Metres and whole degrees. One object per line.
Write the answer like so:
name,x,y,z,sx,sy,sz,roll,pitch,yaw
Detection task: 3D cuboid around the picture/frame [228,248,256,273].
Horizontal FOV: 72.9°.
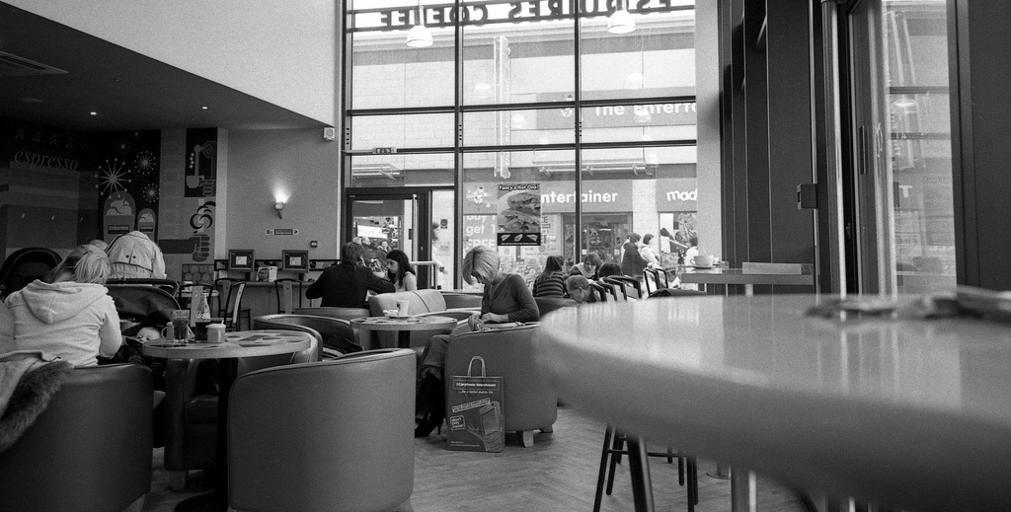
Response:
picture/frame,-5.359,0.089,13.840,0.567,0.409,0.251,-2,2,9

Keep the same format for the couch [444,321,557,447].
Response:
couch,-0.107,1.378,7.406,1.270,1.184,1.239,-7,-3,18

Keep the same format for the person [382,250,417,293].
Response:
person,-1.641,0.357,10.295,0.565,0.802,0.795,-1,-12,-4

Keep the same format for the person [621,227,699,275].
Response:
person,2.749,-0.083,11.913,1.642,0.782,0.681,-6,3,-9

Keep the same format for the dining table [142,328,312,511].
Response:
dining table,-2.307,1.475,6.361,1.607,1.543,1.616,0,-1,37

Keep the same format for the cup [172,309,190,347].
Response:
cup,-2.909,0.632,6.103,0.157,0.209,0.149,-5,-9,-1

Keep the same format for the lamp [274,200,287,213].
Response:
lamp,-4.578,-1.014,13.954,0.218,0.175,0.215,-4,-10,42

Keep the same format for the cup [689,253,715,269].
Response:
cup,1.784,0.057,6.197,0.157,0.077,0.186,1,-7,-9

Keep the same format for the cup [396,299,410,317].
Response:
cup,-1.195,0.614,7.883,0.196,0.182,0.187,-1,-9,0

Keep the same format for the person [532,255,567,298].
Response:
person,0.674,0.306,10.099,0.691,0.719,0.464,0,3,31

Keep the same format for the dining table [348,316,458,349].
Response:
dining table,-1.112,0.778,7.617,0.766,0.441,0.733,-2,-2,29

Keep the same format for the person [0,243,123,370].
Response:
person,-3.831,0.439,5.901,0.779,1.063,0.744,-1,2,36

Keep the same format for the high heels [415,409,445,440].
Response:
high heels,-0.768,1.794,7.211,0.166,0.216,0.469,1,1,-25

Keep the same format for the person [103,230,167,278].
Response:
person,-5.873,-0.008,10.875,1.004,0.790,0.542,3,-6,-36
